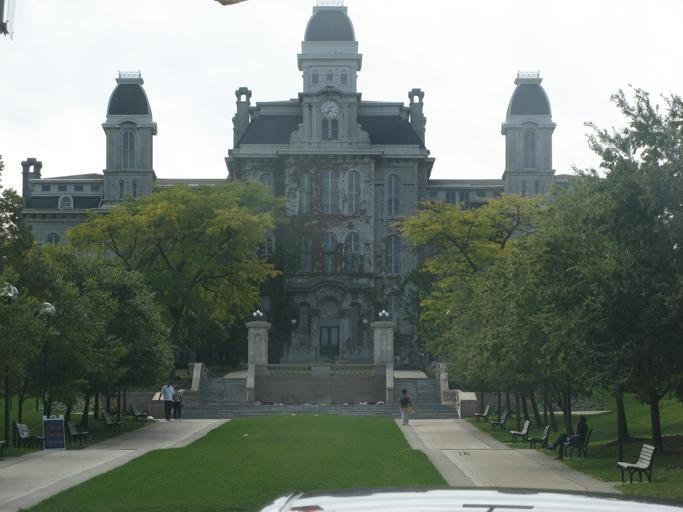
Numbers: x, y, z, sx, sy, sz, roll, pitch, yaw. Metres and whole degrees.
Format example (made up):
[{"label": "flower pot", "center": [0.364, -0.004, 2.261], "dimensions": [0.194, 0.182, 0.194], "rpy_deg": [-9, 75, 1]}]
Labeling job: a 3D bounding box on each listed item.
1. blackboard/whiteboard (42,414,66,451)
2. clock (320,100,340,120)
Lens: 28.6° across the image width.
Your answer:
[{"label": "blackboard/whiteboard", "center": [-11.671, 7.265, 54.670], "dimensions": [0.851, 1.360, 0.855], "rpy_deg": [0, -4, -12]}, {"label": "clock", "center": [-0.978, -11.266, 104.617], "dimensions": [1.544, 1.762, 0.142], "rpy_deg": [1, 2, 3]}]
